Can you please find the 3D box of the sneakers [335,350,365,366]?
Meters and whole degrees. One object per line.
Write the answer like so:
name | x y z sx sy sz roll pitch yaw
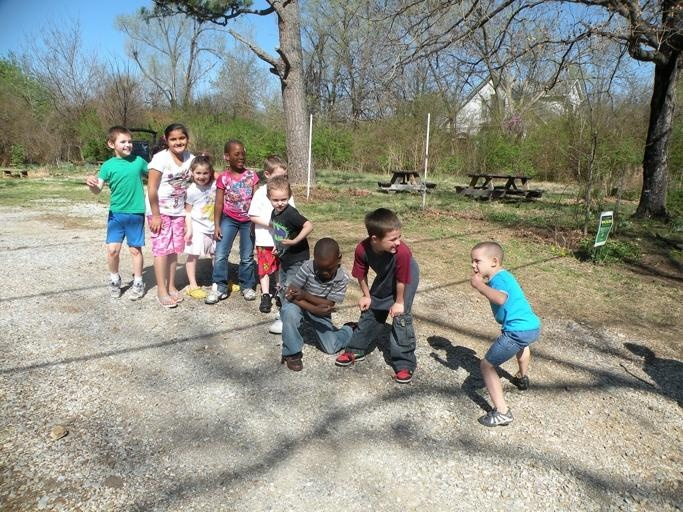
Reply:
sneakers | 0.062 0.939 4.655 0.266 0.150 0.104 6 -1 -33

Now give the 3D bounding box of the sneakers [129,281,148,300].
sneakers | -2.330 0.400 5.800 0.113 0.165 0.354 1 2 -9

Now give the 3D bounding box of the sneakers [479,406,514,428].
sneakers | 1.210 1.263 3.995 0.223 0.121 0.129 -1 6 3

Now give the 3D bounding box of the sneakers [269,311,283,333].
sneakers | -0.643 0.701 5.122 0.106 0.200 0.312 1 -5 6

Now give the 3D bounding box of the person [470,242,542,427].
person | 1.439 0.750 4.484 0.676 1.733 1.025 -3 16 24

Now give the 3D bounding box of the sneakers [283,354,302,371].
sneakers | -0.440 0.957 4.548 0.083 0.097 0.212 0 1 -32

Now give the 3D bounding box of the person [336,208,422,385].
person | 0.357 0.310 4.423 0.782 1.432 0.811 -8 17 -21

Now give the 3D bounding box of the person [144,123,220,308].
person | -1.861 -0.460 5.628 0.515 1.953 0.671 -3 14 -19

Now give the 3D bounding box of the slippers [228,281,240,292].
slippers | -1.312 0.375 6.171 0.109 0.058 0.151 -1 5 -20

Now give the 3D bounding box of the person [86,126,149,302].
person | -2.392 -0.462 5.631 0.514 1.873 0.437 -5 14 -25

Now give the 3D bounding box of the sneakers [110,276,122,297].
sneakers | -2.533 0.342 5.739 0.094 0.279 0.119 -8 -1 -28

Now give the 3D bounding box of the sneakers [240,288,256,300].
sneakers | -1.072 0.450 5.917 0.081 0.087 0.193 -3 2 -29

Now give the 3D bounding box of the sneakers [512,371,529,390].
sneakers | 1.557 1.087 4.430 0.073 0.085 0.193 -4 -5 1
